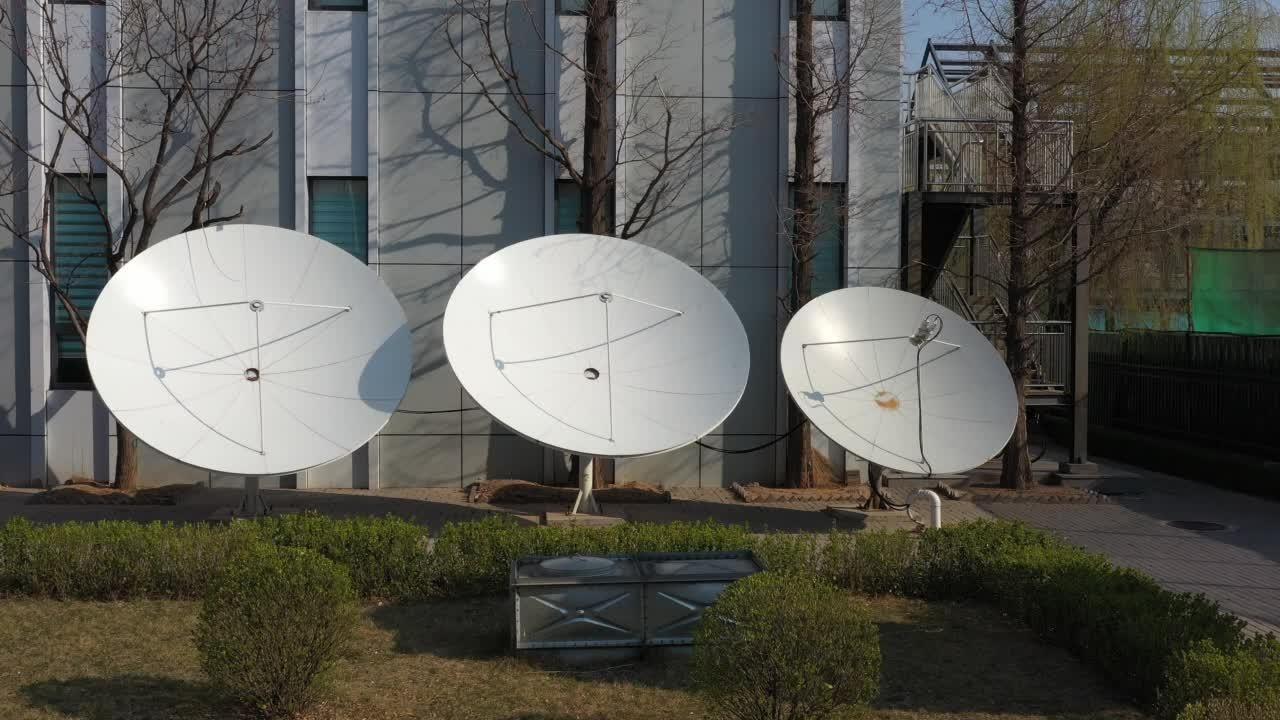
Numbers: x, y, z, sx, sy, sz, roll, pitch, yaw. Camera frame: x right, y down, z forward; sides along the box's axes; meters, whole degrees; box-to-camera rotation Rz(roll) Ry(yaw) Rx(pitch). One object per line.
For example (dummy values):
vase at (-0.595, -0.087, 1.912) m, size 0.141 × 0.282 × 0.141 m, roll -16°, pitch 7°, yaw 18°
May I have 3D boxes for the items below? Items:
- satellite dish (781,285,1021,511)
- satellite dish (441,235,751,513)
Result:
satellite dish at (6.322, 0.206, 38.788) m, size 4.725 × 2.575 × 4.923 m, roll 7°, pitch 38°, yaw -14°
satellite dish at (-1.145, 1.209, 37.660) m, size 6.249 × 5.638 × 6.453 m, roll 8°, pitch 23°, yaw 0°
